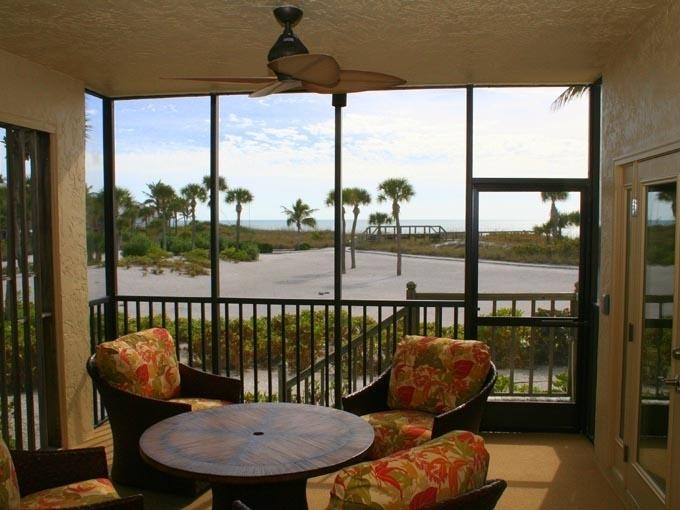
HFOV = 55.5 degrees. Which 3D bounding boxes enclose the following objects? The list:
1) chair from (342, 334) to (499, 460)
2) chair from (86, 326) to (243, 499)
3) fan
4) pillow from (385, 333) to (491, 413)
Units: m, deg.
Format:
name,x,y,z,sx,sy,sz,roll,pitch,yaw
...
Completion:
name,x,y,z,sx,sy,sz,roll,pitch,yaw
chair,0.612,1.110,4.558,0.980,0.956,0.931,-2,3,-31
chair,-1.276,1.112,4.785,0.957,1.034,0.827,2,4,30
fan,-0.281,-1.063,3.876,0.782,0.340,0.840,-3,5,-45
pillow,0.693,0.888,4.696,0.682,0.548,0.346,1,-7,31
